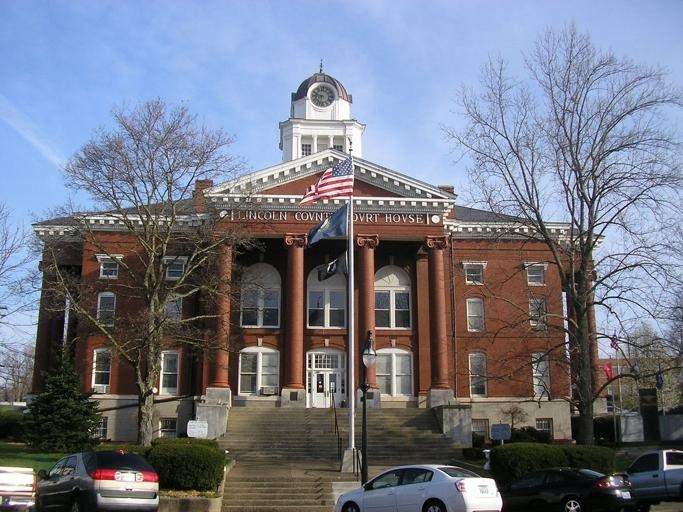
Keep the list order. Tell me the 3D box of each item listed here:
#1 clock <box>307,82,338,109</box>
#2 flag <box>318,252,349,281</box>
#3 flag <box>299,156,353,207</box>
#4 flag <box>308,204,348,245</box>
[{"bbox_3d":[-1.658,-13.647,64.507,2.443,2.317,0.324,-1,-10,4],"label":"clock"},{"bbox_3d":[-0.260,0.430,37.688,0.704,1.048,3.267,5,-19,-19],"label":"flag"},{"bbox_3d":[-0.855,-3.885,39.968,3.897,3.511,0.425,-9,-42,25],"label":"flag"},{"bbox_3d":[-0.736,-1.804,39.300,2.266,2.047,0.376,-20,-41,36],"label":"flag"}]
